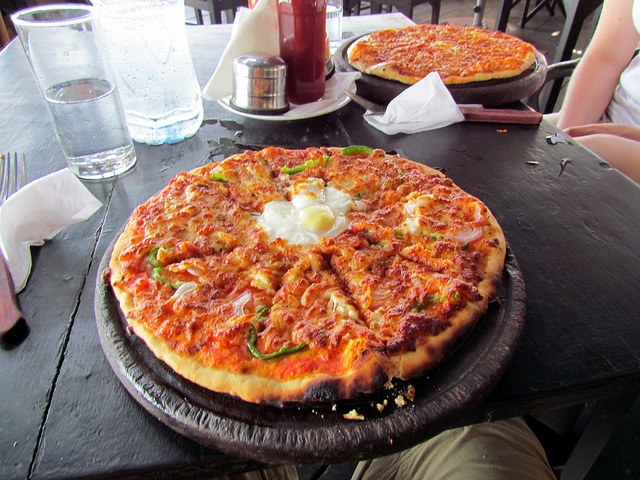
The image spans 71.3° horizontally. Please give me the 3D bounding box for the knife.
[{"bbox_3d":[0.552,-0.608,2.050,0.569,0.094,0.080,11,52,7],"label":"knife"}]

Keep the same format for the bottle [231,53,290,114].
[{"bbox_3d":[-0.258,-0.656,1.912,0.235,0.192,0.249,2,33,-1],"label":"bottle"}]
